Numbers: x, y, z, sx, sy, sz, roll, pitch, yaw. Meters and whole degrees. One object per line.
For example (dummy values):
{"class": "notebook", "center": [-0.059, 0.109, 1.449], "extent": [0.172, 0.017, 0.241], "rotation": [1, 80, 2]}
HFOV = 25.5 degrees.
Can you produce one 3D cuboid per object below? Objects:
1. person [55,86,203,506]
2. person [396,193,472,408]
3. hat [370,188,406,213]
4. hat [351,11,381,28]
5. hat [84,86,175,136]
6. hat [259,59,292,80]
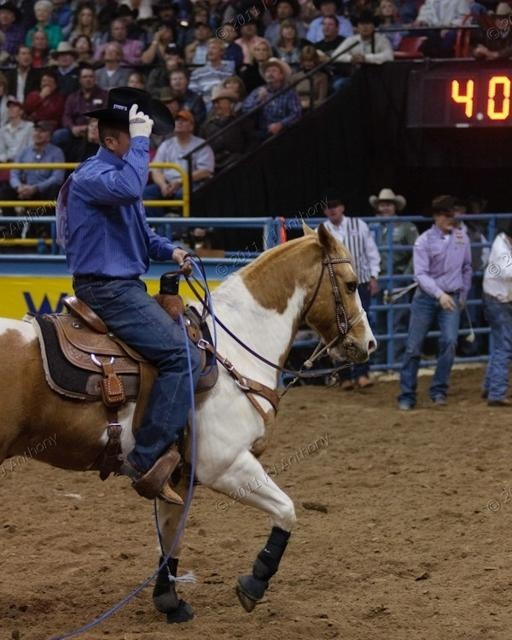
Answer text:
{"class": "person", "center": [-0.602, -0.136, 5.817], "extent": [0.637, 2.073, 0.850], "rotation": [-8, 15, -24]}
{"class": "person", "center": [1.536, -0.124, 9.749], "extent": [0.581, 1.827, 0.877], "rotation": [1, 14, 11]}
{"class": "hat", "center": [1.384, -1.264, 12.029], "extent": [0.300, 0.121, 0.329], "rotation": [0, -20, 6]}
{"class": "hat", "center": [1.125, -3.194, 11.998], "extent": [0.326, 0.179, 0.148], "rotation": [8, 16, 36]}
{"class": "hat", "center": [-0.647, -1.031, 5.833], "extent": [0.358, 0.126, 0.281], "rotation": [19, 17, -4]}
{"class": "hat", "center": [0.220, -2.696, 12.157], "extent": [0.331, 0.215, 0.216], "rotation": [-1, 13, 3]}
